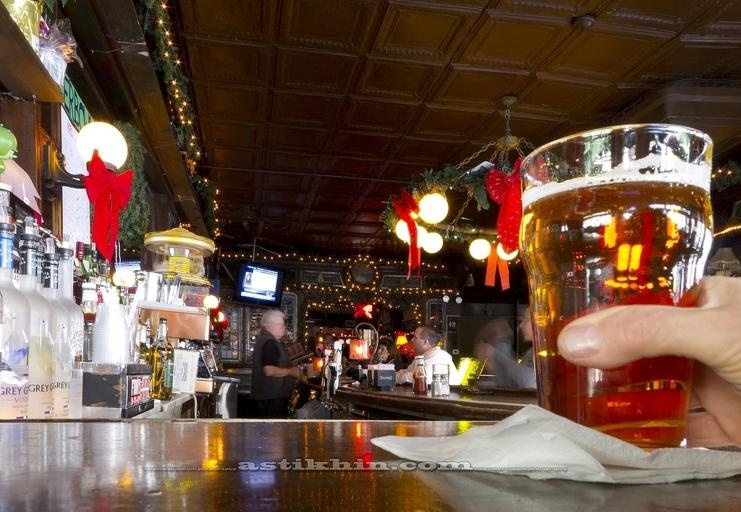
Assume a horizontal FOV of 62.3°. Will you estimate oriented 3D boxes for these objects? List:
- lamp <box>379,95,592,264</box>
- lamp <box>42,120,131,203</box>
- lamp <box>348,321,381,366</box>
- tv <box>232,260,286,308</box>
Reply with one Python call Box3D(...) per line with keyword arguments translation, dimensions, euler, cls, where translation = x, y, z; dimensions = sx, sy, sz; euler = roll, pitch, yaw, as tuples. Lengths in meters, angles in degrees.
Box3D(translation=(1.523, -0.951, 6.739), dimensions=(2.546, 1.785, 2.162), euler=(-4, -5, 16), cls="lamp")
Box3D(translation=(-1.632, -0.542, 3.554), dimensions=(0.564, 0.410, 0.323), euler=(19, 32, 10), cls="lamp")
Box3D(translation=(-0.073, 0.968, 6.716), dimensions=(0.336, 0.471, 0.235), euler=(2, -5, 2), cls="lamp")
Box3D(translation=(-2.481, 0.607, 13.116), dimensions=(0.381, 0.904, 1.203), euler=(-9, -18, 44), cls="tv")
